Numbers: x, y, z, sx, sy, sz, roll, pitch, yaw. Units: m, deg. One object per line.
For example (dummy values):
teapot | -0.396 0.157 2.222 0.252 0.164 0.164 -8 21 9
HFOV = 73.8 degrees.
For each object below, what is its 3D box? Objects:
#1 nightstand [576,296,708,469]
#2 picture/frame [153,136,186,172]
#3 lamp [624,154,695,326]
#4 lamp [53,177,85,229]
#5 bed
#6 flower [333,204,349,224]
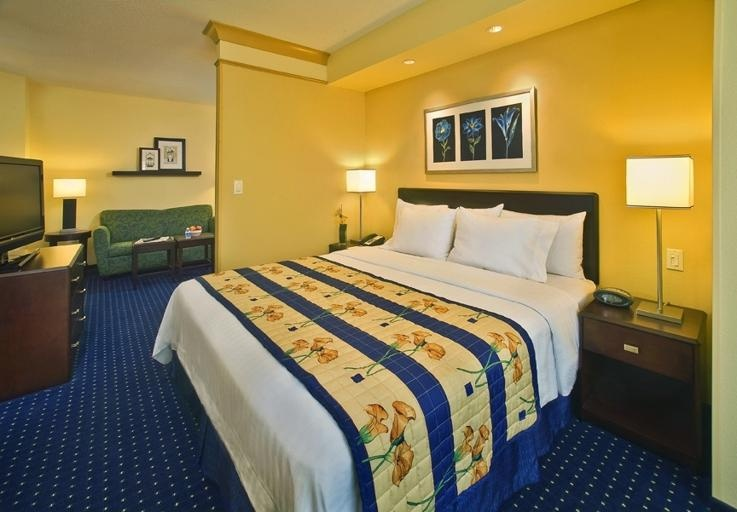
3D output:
nightstand | 1.848 0.657 3.704 0.883 1.397 1.068 -2 2 -45
picture/frame | -2.755 -1.415 6.735 0.040 0.567 0.446 8 10 43
lamp | 1.968 -0.138 3.395 0.429 1.089 0.407 4 9 17
lamp | -3.658 -0.651 6.037 0.359 0.613 0.319 -5 10 -33
bed | 0.117 0.231 3.700 2.415 1.651 2.433 -5 10 -34
flower | -0.309 -0.479 5.533 0.157 0.197 0.068 -18 21 -25
